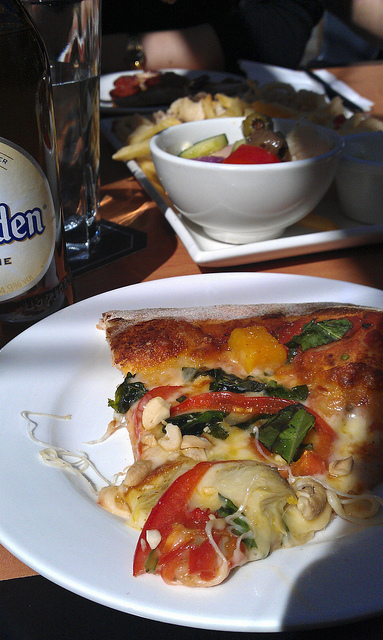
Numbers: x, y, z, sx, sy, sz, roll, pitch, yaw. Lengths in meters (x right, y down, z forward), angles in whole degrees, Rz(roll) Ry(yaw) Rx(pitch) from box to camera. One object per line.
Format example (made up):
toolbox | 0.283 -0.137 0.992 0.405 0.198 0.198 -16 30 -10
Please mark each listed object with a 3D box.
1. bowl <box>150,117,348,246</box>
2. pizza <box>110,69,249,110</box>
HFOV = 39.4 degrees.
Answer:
bowl | 0.105 -0.269 1.126 0.341 0.187 0.339 -1 32 1
pizza | -0.055 -0.838 1.969 0.522 0.093 0.484 5 33 4
